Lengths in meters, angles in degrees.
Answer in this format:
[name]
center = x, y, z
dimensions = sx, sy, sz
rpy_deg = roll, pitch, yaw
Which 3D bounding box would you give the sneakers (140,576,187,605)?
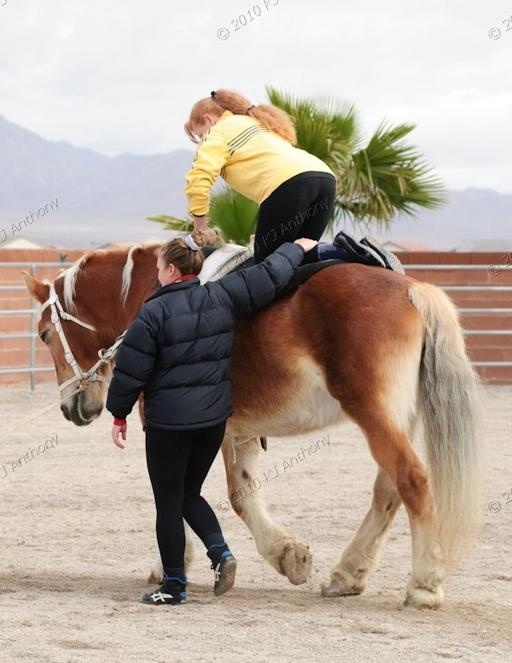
[sneakers]
center = -0.352, 1.096, 4.169
dimensions = 0.255, 0.131, 0.077
rpy_deg = 5, -1, 2

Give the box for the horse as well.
[horse]
center = 0.209, 0.436, 4.847
dimensions = 0.798, 1.661, 2.696
rpy_deg = 16, -14, -34

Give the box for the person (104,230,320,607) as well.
[person]
center = -0.236, 0.373, 4.155
dimensions = 0.791, 1.543, 0.335
rpy_deg = 0, 4, -13
